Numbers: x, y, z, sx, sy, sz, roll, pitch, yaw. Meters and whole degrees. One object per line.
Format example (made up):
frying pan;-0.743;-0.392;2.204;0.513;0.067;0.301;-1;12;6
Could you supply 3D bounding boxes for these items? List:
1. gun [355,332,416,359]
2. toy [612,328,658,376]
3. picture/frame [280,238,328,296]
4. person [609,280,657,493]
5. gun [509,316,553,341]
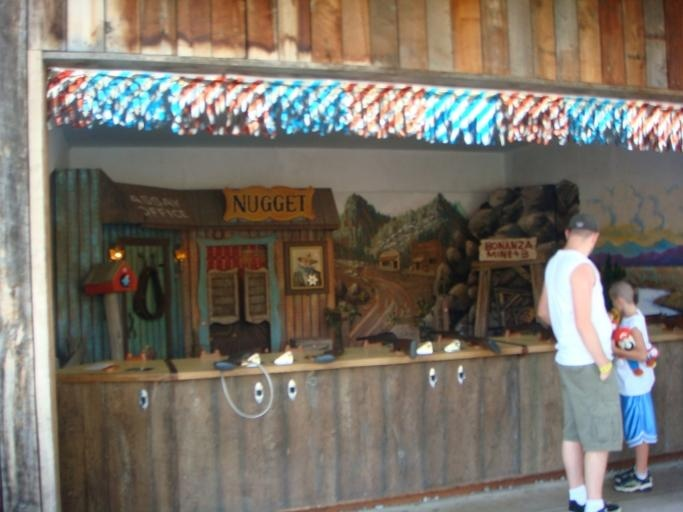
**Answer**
gun;0.478;0.872;10.670;0.353;0.204;0.826;-7;13;-28
toy;2.768;0.840;10.113;0.282;0.533;0.368;2;1;-15
picture/frame;-0.494;0.149;14.569;0.573;0.712;0.039;-2;-15;-5
person;2.782;1.264;10.136;0.478;2.156;0.447;2;-4;-39
gun;2.381;0.909;13.848;0.521;0.252;0.408;0;-1;-2
